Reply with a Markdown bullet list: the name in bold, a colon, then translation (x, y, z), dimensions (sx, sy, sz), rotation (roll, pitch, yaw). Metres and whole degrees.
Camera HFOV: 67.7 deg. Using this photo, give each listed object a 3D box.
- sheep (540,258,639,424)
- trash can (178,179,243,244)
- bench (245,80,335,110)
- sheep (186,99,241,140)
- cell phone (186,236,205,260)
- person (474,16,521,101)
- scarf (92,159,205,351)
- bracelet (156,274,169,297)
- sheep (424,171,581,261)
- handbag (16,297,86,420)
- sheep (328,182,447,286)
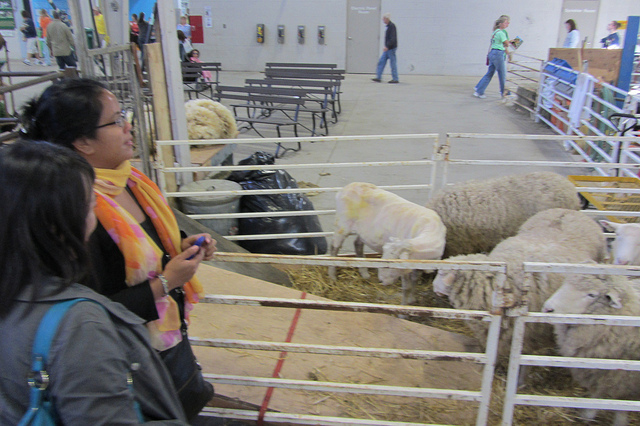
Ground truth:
- **sheep**: translation (1.703, 0.799, 3.003), dimensions (0.627, 0.879, 0.679), rotation (8, 21, 17)
- **trash can**: translation (-1.067, -0.042, 5.107), dimensions (0.976, 0.603, 0.707), rotation (-1, 21, -6)
- **bench**: translation (-0.653, -2.521, 10.199), dimensions (2.533, 0.580, 0.550), rotation (3, 43, 10)
- **sheep**: translation (-1.336, -1.168, 6.093), dimensions (0.928, 0.338, 0.879), rotation (-1, 12, -7)
- **cell phone**: translation (-0.578, 0.150, 2.219), dimensions (0.048, 0.032, 0.132), rotation (-19, 21, 35)
- **person**: translation (4.383, -3.776, 11.863), dimensions (0.833, 1.957, 1.166), rotation (11, 23, 23)
- **scarf**: translation (-0.845, 0.161, 2.325), dimensions (0.365, 0.855, 0.419), rotation (9, 37, 2)
- **bracelet**: translation (-0.687, 0.302, 2.087), dimensions (0.041, 0.086, 0.060), rotation (-6, 22, -17)
- **sheep**: translation (1.522, 0.043, 4.349), dimensions (1.632, 0.694, 0.544), rotation (-14, 55, 13)
- **handbag**: translation (-0.994, 0.523, 1.754), dimensions (0.141, 0.421, 0.252), rotation (7, 22, 14)
- **sheep**: translation (0.603, 0.122, 3.874), dimensions (0.661, 0.636, 0.955), rotation (-7, 19, -22)
